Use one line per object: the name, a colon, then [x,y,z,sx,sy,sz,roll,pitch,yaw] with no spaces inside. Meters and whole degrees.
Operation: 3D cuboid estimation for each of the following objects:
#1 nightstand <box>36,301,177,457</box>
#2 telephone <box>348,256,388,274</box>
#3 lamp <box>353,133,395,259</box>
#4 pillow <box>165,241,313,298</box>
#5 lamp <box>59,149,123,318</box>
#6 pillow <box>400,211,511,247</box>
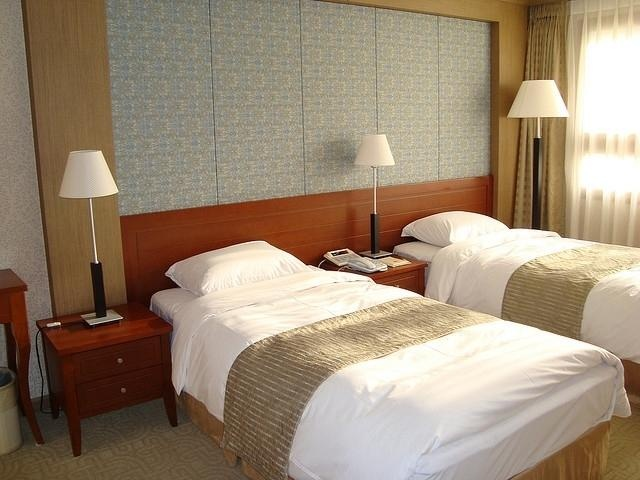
nightstand: [-1.362,0.781,3.291,0.859,0.821,0.833,-9,14,-36]
telephone: [0.379,0.183,3.950,0.161,0.065,0.217,-9,13,-38]
lamp: [0.493,-0.419,4.353,0.327,1.098,0.503,-1,15,3]
pillow: [-0.584,0.190,3.423,0.709,0.162,0.470,-9,22,-35]
lamp: [-1.480,-0.028,3.128,0.327,1.113,0.491,-10,17,-28]
pillow: [1.204,-0.133,4.612,0.689,0.195,0.432,-7,12,-34]
